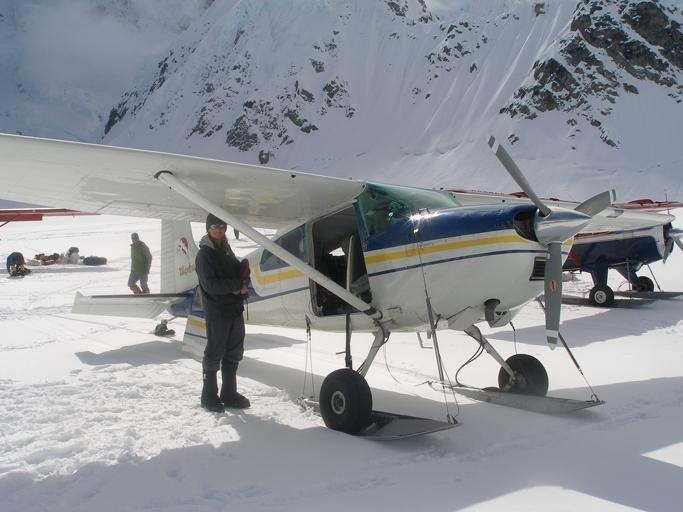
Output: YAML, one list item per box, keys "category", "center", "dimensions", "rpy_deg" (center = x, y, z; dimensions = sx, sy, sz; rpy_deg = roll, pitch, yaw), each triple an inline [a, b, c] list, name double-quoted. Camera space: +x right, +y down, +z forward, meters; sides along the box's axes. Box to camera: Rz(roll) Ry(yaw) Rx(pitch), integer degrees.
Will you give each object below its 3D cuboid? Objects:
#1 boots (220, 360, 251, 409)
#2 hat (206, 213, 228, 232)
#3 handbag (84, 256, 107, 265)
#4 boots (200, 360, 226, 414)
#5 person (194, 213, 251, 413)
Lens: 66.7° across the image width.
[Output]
- category: "boots"
  center: [-1.049, 1.325, 5.261]
  dimensions: [0.234, 0.461, 0.486]
  rpy_deg: [7, -8, -41]
- category: "hat"
  center: [-1.232, -0.346, 5.086]
  dimensions: [0.144, 0.137, 0.178]
  rpy_deg: [-1, 4, -13]
- category: "handbag"
  center: [-8.964, 0.191, 18.755]
  dimensions: [0.419, 0.212, 0.542]
  rpy_deg: [5, -11, -38]
- category: "boots"
  center: [-1.273, 1.254, 5.086]
  dimensions: [0.198, 0.493, 0.282]
  rpy_deg: [-2, 8, -21]
- category: "person"
  center: [-1.173, 0.560, 5.152]
  dimensions: [0.496, 1.932, 0.486]
  rpy_deg: [-3, 8, -26]
